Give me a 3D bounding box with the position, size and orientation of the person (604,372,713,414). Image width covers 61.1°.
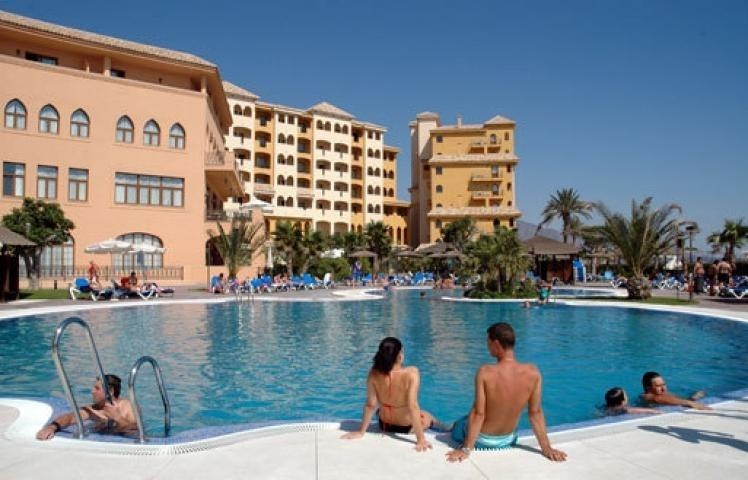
[{"bbox_3d":[5.939,3.527,14.036,1.241,0.509,1.236,-3,-3,-5],"label":"person"}]

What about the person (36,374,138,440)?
[{"bbox_3d":[-5.538,3.424,12.618,2.142,1.252,1.175,-7,-1,-19],"label":"person"}]

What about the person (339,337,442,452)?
[{"bbox_3d":[0.377,2.926,12.184,1.429,2.058,0.437,0,-3,11],"label":"person"}]

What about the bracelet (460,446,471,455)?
[{"bbox_3d":[1.720,3.888,11.674,0.129,0.094,0.128,0,0,-6],"label":"bracelet"}]

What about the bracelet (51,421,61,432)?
[{"bbox_3d":[-6.202,3.619,12.276,0.149,0.092,0.201,3,-29,-4],"label":"bracelet"}]
